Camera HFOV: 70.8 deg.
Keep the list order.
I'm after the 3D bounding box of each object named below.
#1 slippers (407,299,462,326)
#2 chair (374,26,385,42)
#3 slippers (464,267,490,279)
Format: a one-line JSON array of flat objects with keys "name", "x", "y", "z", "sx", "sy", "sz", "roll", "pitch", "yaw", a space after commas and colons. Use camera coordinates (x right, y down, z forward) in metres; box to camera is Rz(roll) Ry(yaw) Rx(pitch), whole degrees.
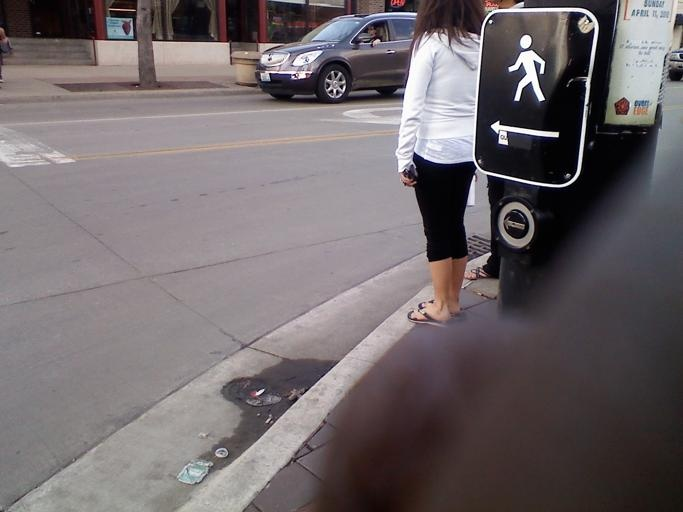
[{"name": "slippers", "x": 0.603, "y": 0.420, "z": 3.334, "sx": 0.263, "sy": 0.076, "sz": 0.188, "roll": 18, "pitch": 37, "yaw": 36}, {"name": "chair", "x": 1.121, "y": -6.537, "z": 14.137, "sx": 0.356, "sy": 0.463, "sz": 0.410, "roll": 3, "pitch": 17, "yaw": 6}, {"name": "slippers", "x": 1.108, "y": 0.136, "z": 3.938, "sx": 0.172, "sy": 0.063, "sz": 0.089, "roll": 5, "pitch": 20, "yaw": 3}]
